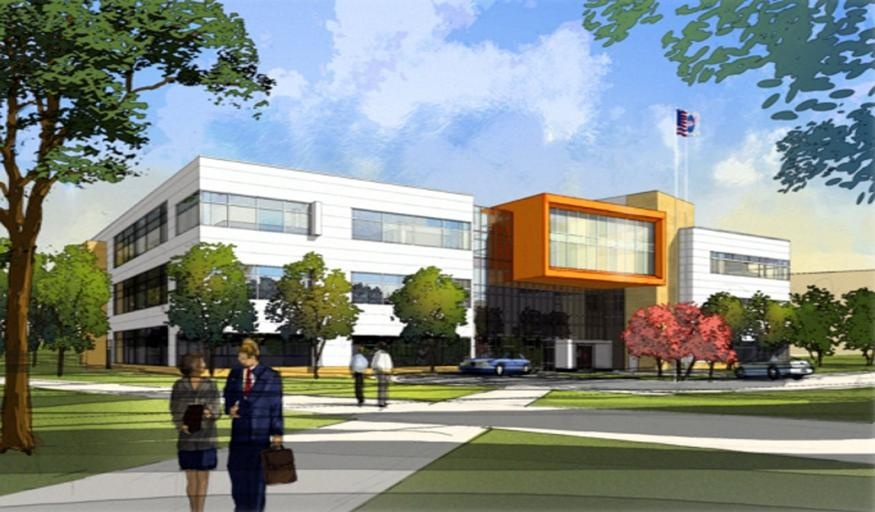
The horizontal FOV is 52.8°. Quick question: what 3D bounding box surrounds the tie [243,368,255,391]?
[{"bbox_3d":[-4.954,3.215,22.976,0.290,0.574,0.070,-6,-12,21],"label":"tie"}]
